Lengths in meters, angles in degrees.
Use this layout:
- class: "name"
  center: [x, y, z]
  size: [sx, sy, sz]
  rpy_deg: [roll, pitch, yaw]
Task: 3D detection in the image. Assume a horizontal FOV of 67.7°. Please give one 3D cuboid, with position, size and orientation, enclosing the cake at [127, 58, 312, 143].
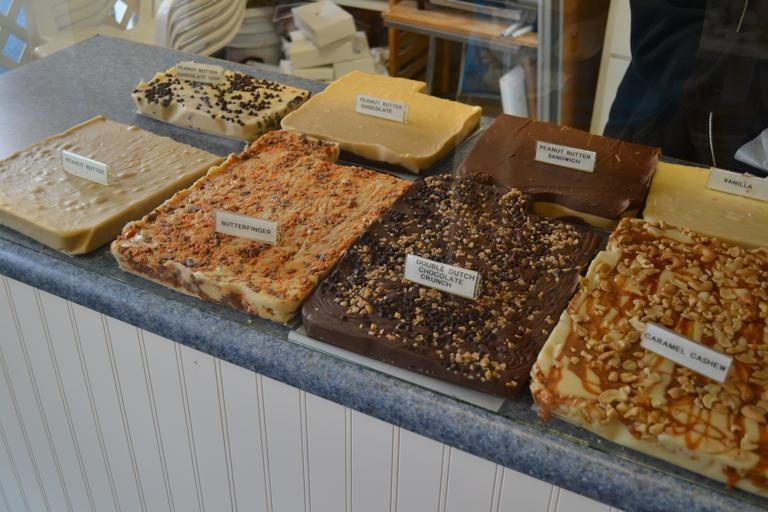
- class: "cake"
  center: [-0.491, -0.468, 1.737]
  size: [0.498, 0.114, 0.288]
  rpy_deg: [14, 38, 15]
